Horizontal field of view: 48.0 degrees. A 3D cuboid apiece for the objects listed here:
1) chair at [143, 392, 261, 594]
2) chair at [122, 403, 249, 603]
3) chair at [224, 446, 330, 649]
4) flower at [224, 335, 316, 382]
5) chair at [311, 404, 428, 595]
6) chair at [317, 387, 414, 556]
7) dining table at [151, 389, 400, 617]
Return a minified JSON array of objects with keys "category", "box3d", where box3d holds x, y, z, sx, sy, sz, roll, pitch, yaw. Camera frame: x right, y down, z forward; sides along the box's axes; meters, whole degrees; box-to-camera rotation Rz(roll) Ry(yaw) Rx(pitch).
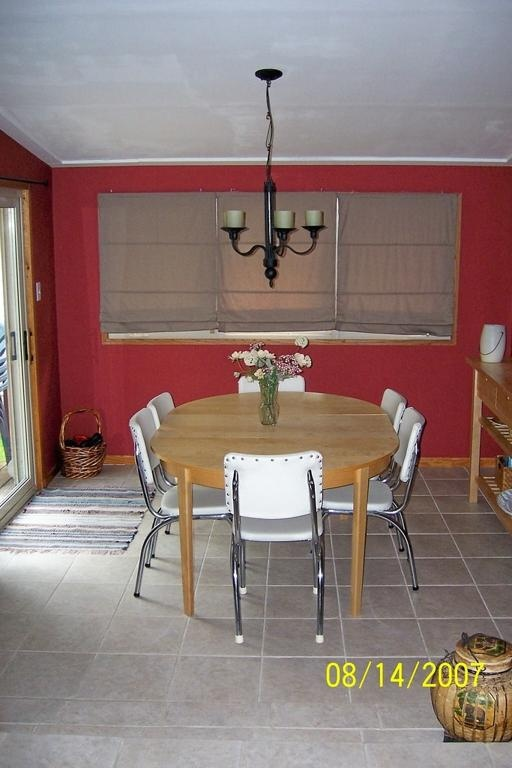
[{"category":"chair","box3d":[-0.331,0.487,3.240,0.812,1.245,0.757,0,14,-1]},{"category":"chair","box3d":[-0.336,0.564,2.876,0.599,0.808,0.539,-4,6,-11]},{"category":"chair","box3d":[0.078,0.647,2.367,0.391,0.833,0.344,0,8,4]},{"category":"flower","box3d":[0.020,-0.114,2.993,0.432,0.236,0.435,2,7,24]},{"category":"chair","box3d":[0.521,0.474,2.999,0.735,0.952,0.680,9,34,15]},{"category":"chair","box3d":[0.505,0.557,2.936,0.605,0.890,0.528,-3,3,11]},{"category":"dining table","box3d":[0.120,0.501,2.957,1.002,0.626,1.009,-1,23,3]}]
